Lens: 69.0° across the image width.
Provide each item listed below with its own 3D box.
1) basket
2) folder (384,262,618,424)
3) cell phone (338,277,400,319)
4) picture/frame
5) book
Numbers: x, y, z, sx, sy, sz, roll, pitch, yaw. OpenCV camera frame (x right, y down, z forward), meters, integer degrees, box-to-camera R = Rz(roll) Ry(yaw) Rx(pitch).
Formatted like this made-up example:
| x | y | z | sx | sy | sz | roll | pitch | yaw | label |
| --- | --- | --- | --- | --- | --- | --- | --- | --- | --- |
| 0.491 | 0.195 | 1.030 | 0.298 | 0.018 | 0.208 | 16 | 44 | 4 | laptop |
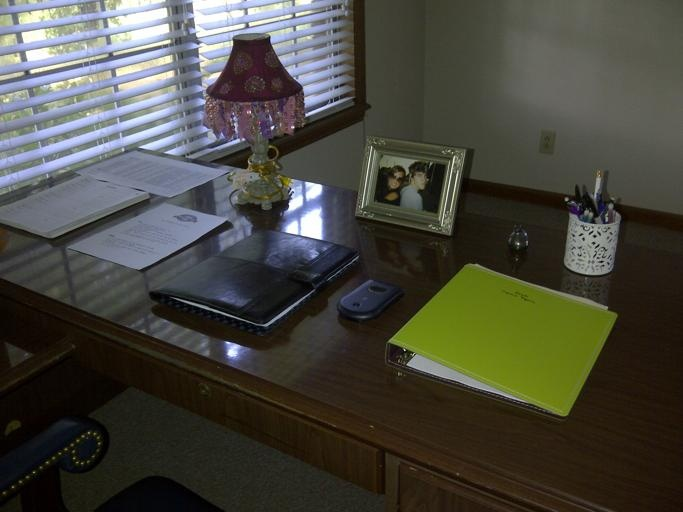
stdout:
| x | y | z | sx | sy | sz | roll | pitch | yaw | label |
| --- | --- | --- | --- | --- | --- | --- | --- | --- | --- |
| 0.522 | -0.026 | 1.033 | 0.102 | 0.109 | 0.094 | 2 | 19 | 10 | basket |
| 0.309 | 0.143 | 0.869 | 0.294 | 0.046 | 0.282 | -32 | 35 | -31 | folder |
| 0.051 | 0.086 | 0.964 | 0.093 | 0.026 | 0.141 | 15 | 30 | 28 | cell phone |
| 0.161 | -0.156 | 1.173 | 0.246 | 0.198 | 0.025 | 16 | 12 | 21 | picture/frame |
| -0.168 | 0.036 | 1.037 | 0.290 | 0.052 | 0.334 | 11 | 30 | 25 | book |
